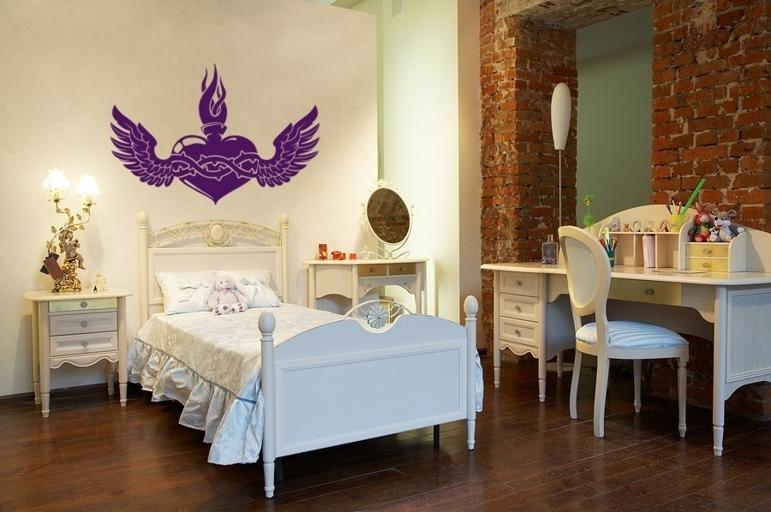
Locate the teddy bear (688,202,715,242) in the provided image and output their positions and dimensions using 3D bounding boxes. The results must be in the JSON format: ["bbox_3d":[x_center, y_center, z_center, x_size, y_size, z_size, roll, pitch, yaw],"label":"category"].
[{"bbox_3d":[2.403,-0.259,4.130,0.200,0.273,0.168,0,12,29],"label":"teddy bear"}]

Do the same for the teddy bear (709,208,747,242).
[{"bbox_3d":[2.515,-0.223,4.028,0.137,0.236,0.244,10,-8,-34],"label":"teddy bear"}]

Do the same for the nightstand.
[{"bbox_3d":[-2.526,0.761,4.549,0.745,0.945,0.642,-6,11,-31],"label":"nightstand"}]

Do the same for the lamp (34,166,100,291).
[{"bbox_3d":[-2.661,-0.224,4.666,0.407,1.012,0.504,9,13,44],"label":"lamp"}]

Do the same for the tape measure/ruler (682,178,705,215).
[{"bbox_3d":[2.417,-0.462,4.287,0.061,0.360,0.052,36,-13,-10],"label":"tape measure/ruler"}]

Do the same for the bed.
[{"bbox_3d":[-0.866,0.517,4.542,2.059,1.704,2.787,1,1,-38],"label":"bed"}]

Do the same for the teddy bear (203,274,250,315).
[{"bbox_3d":[-1.398,0.328,4.813,0.348,0.360,0.290,-5,7,-25],"label":"teddy bear"}]
